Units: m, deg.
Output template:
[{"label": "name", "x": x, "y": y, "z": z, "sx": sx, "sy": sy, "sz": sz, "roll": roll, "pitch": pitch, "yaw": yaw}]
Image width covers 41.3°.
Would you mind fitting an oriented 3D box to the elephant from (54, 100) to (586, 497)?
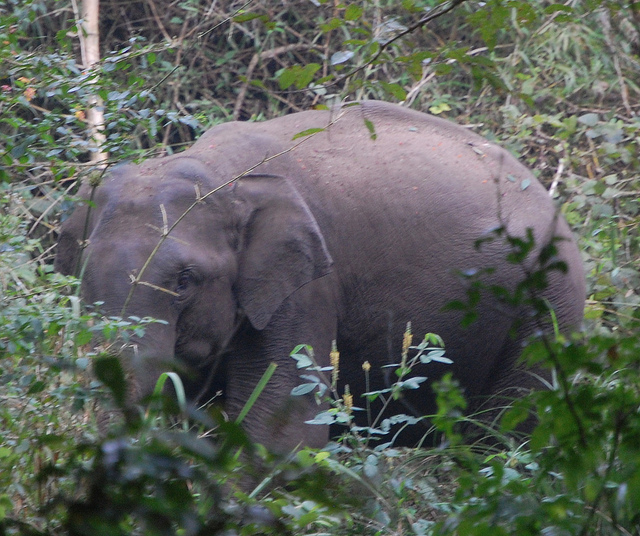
[{"label": "elephant", "x": 0.156, "y": 0.021, "z": 3.174, "sx": 2.189, "sy": 0.971, "sz": 1.090, "roll": 3, "pitch": -3, "yaw": -19}]
